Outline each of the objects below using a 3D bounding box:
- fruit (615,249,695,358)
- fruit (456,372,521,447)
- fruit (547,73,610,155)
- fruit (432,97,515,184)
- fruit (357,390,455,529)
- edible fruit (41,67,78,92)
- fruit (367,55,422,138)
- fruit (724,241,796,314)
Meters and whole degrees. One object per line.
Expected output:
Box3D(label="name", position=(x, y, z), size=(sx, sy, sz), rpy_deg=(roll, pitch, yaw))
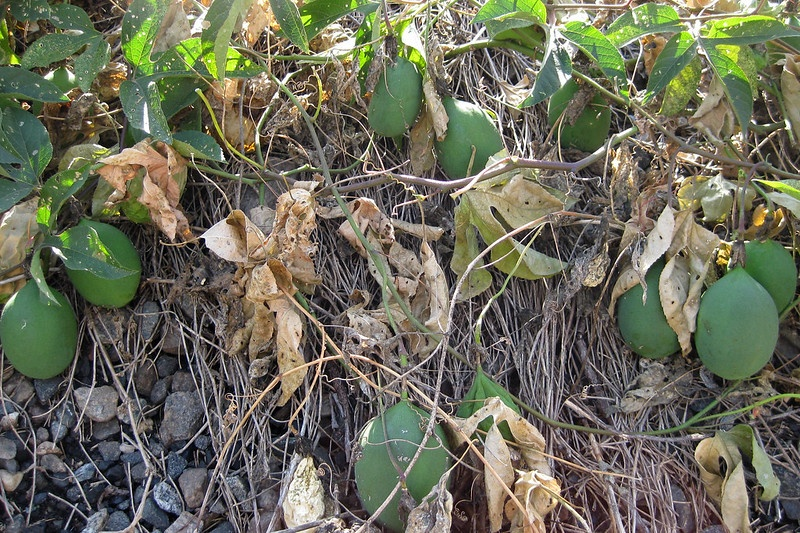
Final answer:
Box3D(label="fruit", position=(0.723, 0.160, 1.910), size=(0.151, 0.272, 0.187), rpy_deg=(-12, 45, -13))
Box3D(label="fruit", position=(0.247, 0.380, 1.828), size=(0.165, 0.195, 0.182), rpy_deg=(15, 46, 15))
Box3D(label="fruit", position=(0.541, -0.443, 2.073), size=(0.182, 0.192, 0.242), rpy_deg=(17, 96, 6))
Box3D(label="fruit", position=(0.198, -0.373, 1.966), size=(0.192, 0.187, 0.157), rpy_deg=(34, 53, 29))
Box3D(label="fruit", position=(0.015, 0.485, 1.823), size=(0.263, 0.285, 0.386), rpy_deg=(4, 89, 11))
Box3D(label="edible fruit", position=(-1.017, -0.559, 1.992), size=(0.080, 0.044, 0.070), rpy_deg=(30, 52, 26))
Box3D(label="fruit", position=(-0.012, -0.478, 1.921), size=(0.117, 0.130, 0.232), rpy_deg=(21, 87, 37))
Box3D(label="fruit", position=(1.048, 0.032, 1.951), size=(0.137, 0.152, 0.212), rpy_deg=(-1, 87, 0))
